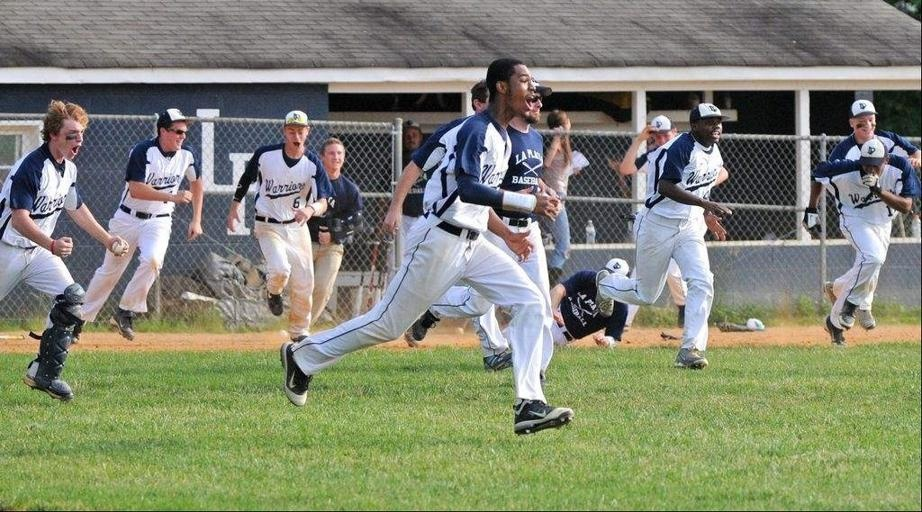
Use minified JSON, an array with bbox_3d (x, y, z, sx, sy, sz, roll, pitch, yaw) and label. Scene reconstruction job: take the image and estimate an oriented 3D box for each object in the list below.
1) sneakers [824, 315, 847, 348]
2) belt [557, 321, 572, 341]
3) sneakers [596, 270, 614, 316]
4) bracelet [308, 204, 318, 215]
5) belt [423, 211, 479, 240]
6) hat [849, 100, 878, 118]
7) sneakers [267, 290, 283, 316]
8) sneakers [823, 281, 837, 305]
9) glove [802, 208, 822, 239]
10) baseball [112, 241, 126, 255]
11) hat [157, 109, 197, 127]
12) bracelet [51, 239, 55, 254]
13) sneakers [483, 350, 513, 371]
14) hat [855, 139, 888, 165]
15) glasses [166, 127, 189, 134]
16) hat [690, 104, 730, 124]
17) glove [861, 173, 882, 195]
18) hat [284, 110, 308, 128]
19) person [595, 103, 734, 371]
[{"bbox_3d":[5.440,1.104,21.080,0.265,0.498,0.189,-13,0,14],"label":"sneakers"},{"bbox_3d":[1.468,1.051,20.309,0.177,0.223,0.078,-8,26,38],"label":"belt"},{"bbox_3d":[1.952,0.529,19.931,0.279,0.603,0.232,11,22,35],"label":"sneakers"},{"bbox_3d":[-2.034,-0.635,19.839,0.109,0.126,0.056,9,11,34],"label":"bracelet"},{"bbox_3d":[-0.090,-0.415,17.095,0.424,0.089,0.404,25,7,42],"label":"belt"},{"bbox_3d":[5.665,-2.053,20.460,0.321,0.230,0.218,1,0,12],"label":"hat"},{"bbox_3d":[-2.589,0.659,20.378,0.145,0.371,0.174,-24,32,-32],"label":"sneakers"},{"bbox_3d":[5.534,0.503,21.627,0.151,0.167,0.403,7,19,-1],"label":"sneakers"},{"bbox_3d":[5.404,-0.514,22.384,0.246,0.430,0.339,3,29,19],"label":"glove"},{"bbox_3d":[-4.372,-0.107,18.473,0.096,0.093,0.165,-21,4,-14],"label":"baseball"},{"bbox_3d":[-4.007,-1.947,20.202,0.554,0.247,0.338,-18,15,-6],"label":"hat"},{"bbox_3d":[-5.012,-0.106,17.816,0.077,0.176,0.152,2,0,-15],"label":"bracelet"},{"bbox_3d":[0.543,1.367,19.178,0.527,0.221,0.165,-14,-17,12],"label":"sneakers"},{"bbox_3d":[5.703,-1.423,20.107,0.333,0.330,0.231,1,0,10],"label":"hat"},{"bbox_3d":[-3.954,-1.717,20.156,0.235,0.087,0.093,1,1,-37],"label":"glasses"},{"bbox_3d":[3.248,-1.877,19.265,0.399,0.237,0.360,1,0,6],"label":"hat"},{"bbox_3d":[5.696,-0.994,20.183,0.235,0.226,0.315,2,0,23],"label":"glove"},{"bbox_3d":[-2.274,-1.891,19.943,0.319,0.186,0.394,1,-4,-9],"label":"hat"},{"bbox_3d":[2.803,-0.270,19.371,1.511,3.290,0.988,2,0,12],"label":"person"}]
